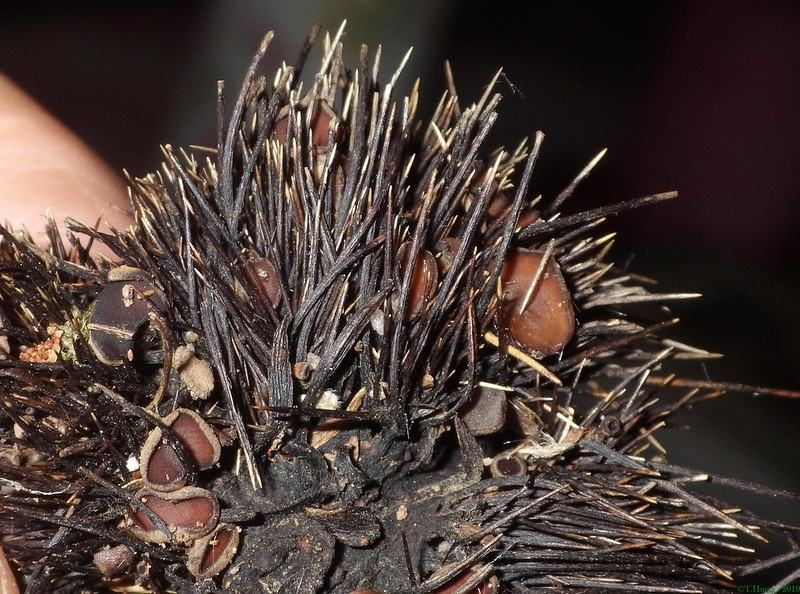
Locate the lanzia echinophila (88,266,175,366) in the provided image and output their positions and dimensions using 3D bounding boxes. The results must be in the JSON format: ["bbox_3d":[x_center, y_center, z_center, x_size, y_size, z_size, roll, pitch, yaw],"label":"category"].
[{"bbox_3d":[-0.449,0.035,1.381,0.110,0.128,0.119,24,34,6],"label":"lanzia echinophila"}]

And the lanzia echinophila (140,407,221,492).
[{"bbox_3d":[-0.350,0.254,1.346,0.099,0.115,0.098,28,35,12],"label":"lanzia echinophila"}]

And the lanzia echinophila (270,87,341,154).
[{"bbox_3d":[-0.158,-0.297,1.462,0.118,0.088,0.160,14,33,-7],"label":"lanzia echinophila"}]

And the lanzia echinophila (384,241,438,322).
[{"bbox_3d":[0.027,-0.026,1.336,0.108,0.112,0.037,8,-2,-3],"label":"lanzia echinophila"}]

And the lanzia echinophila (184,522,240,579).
[{"bbox_3d":[-0.299,0.419,1.381,0.078,0.099,0.034,38,-3,-10],"label":"lanzia echinophila"}]

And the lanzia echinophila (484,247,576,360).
[{"bbox_3d":[0.232,-0.001,1.450,0.108,0.195,0.145,-3,41,-30],"label":"lanzia echinophila"}]

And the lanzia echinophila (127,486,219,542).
[{"bbox_3d":[-0.358,0.356,1.375,0.062,0.196,0.096,33,56,-54],"label":"lanzia echinophila"}]
